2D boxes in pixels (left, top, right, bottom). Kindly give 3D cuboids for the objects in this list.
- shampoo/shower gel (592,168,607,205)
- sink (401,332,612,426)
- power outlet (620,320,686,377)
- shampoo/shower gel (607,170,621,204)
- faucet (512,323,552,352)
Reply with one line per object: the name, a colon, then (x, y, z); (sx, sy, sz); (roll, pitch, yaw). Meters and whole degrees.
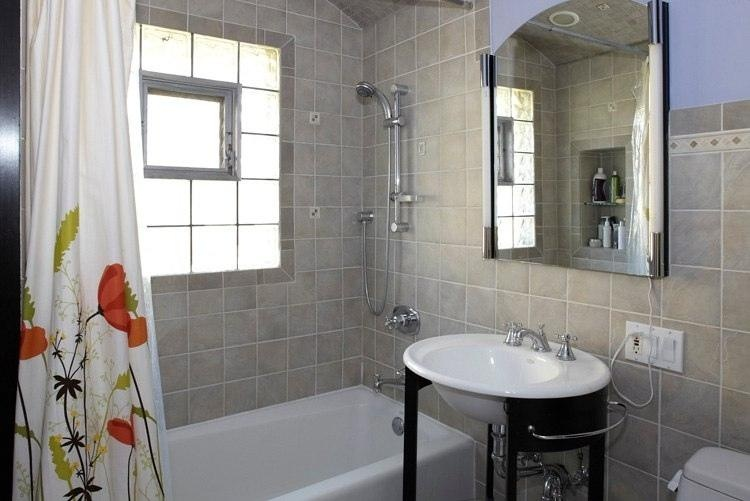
shampoo/shower gel: (0.977, -0.279, 2.455); (0.017, 0.152, 0.067); (-7, 7, -35)
sink: (0.567, 0.569, 2.472); (0.846, 0.273, 0.612); (-1, 7, 24)
power outlet: (1.166, 0.404, 2.357); (0.228, 0.185, 0.024); (2, 8, 43)
shampoo/shower gel: (1.021, -0.267, 2.400); (0.017, 0.136, 0.058); (-6, 6, -28)
faucet: (0.710, 0.402, 2.577); (0.183, 0.118, 0.086); (2, 0, -44)
